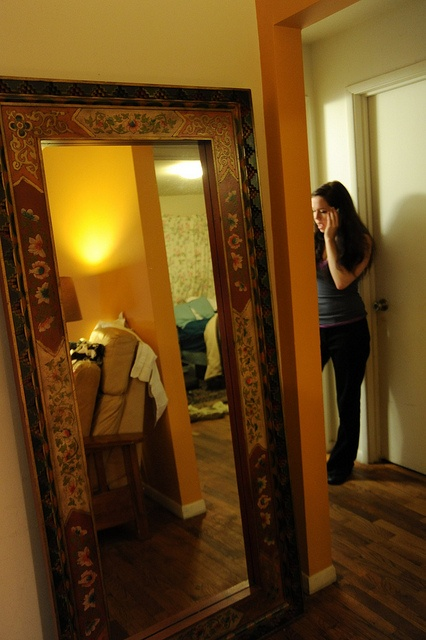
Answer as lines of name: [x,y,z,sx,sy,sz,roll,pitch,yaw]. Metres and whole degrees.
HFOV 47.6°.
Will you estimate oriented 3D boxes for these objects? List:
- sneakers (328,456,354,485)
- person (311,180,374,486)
sneakers: [0.720,0.868,2.767,0.078,0.153,0.228,-4,-9,19]
person: [0.723,0.078,2.755,0.335,1.679,0.274,1,6,17]
